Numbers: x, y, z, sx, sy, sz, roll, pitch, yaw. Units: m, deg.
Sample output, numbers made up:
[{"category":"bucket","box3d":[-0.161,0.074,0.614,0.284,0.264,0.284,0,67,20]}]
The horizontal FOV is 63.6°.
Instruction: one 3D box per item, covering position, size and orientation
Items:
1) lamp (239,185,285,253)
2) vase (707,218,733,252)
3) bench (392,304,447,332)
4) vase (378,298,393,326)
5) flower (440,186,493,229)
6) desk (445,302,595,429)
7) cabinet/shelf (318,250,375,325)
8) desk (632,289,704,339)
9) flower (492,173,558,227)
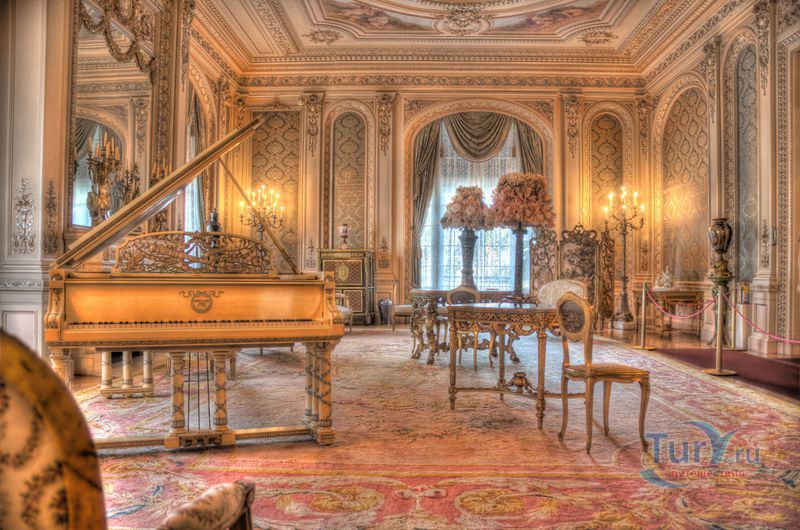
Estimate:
[{"category":"lamp","box3d":[-2.747,-0.986,12.831,0.765,1.079,0.755,0,-10,19]},{"category":"vase","box3d":[4.146,-0.361,8.374,0.278,0.444,0.269,-6,6,-39]},{"category":"bench","box3d":[0.296,0.818,9.849,0.486,0.325,0.700,-2,-1,26]},{"category":"vase","box3d":[-0.312,0.949,13.010,0.452,0.649,0.443,0,-3,-4]},{"category":"flower","box3d":[0.810,-0.769,9.054,0.616,0.559,0.600,-13,-8,-15]},{"category":"desk","box3d":[1.177,1.009,6.932,1.084,1.057,1.211,-2,-7,35]},{"category":"cabinet/shelf","box3d":[-1.232,0.500,12.676,1.096,1.409,0.935,2,-13,-23]},{"category":"desk","box3d":[5.166,0.812,11.852,0.670,0.787,1.630,-2,3,23]},{"category":"flower","box3d":[1.598,-0.864,8.303,0.780,0.660,0.779,-6,10,-8]}]
